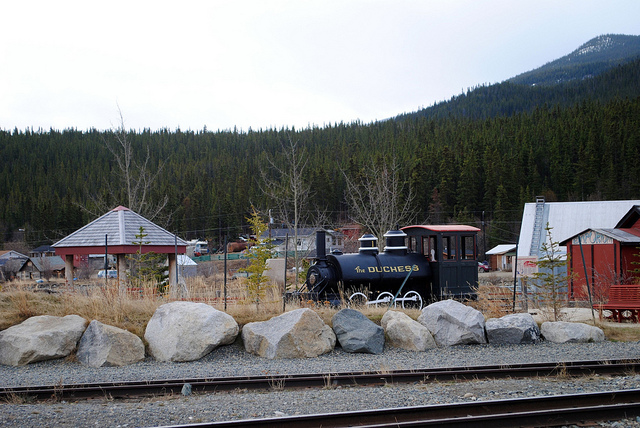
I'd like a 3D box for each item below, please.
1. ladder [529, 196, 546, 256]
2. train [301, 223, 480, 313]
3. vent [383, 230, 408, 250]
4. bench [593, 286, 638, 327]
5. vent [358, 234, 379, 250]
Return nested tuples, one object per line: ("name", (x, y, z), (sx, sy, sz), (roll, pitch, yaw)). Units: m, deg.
("ladder", (17.106, 1.114, 49.848), (0.820, 0.747, 5.009), (-10, 33, 28))
("train", (3.370, 2.681, 31.177), (8.154, 4.010, 3.937), (3, -6, -24))
("vent", (3.630, 1.240, 31.081), (0.868, 0.708, 0.911), (1, -6, -11))
("bench", (13.073, 3.896, 27.443), (1.279, 1.340, 1.012), (-2, -2, 26))
("vent", (2.353, 1.367, 30.602), (0.683, 0.700, 0.678), (2, -4, -39))
